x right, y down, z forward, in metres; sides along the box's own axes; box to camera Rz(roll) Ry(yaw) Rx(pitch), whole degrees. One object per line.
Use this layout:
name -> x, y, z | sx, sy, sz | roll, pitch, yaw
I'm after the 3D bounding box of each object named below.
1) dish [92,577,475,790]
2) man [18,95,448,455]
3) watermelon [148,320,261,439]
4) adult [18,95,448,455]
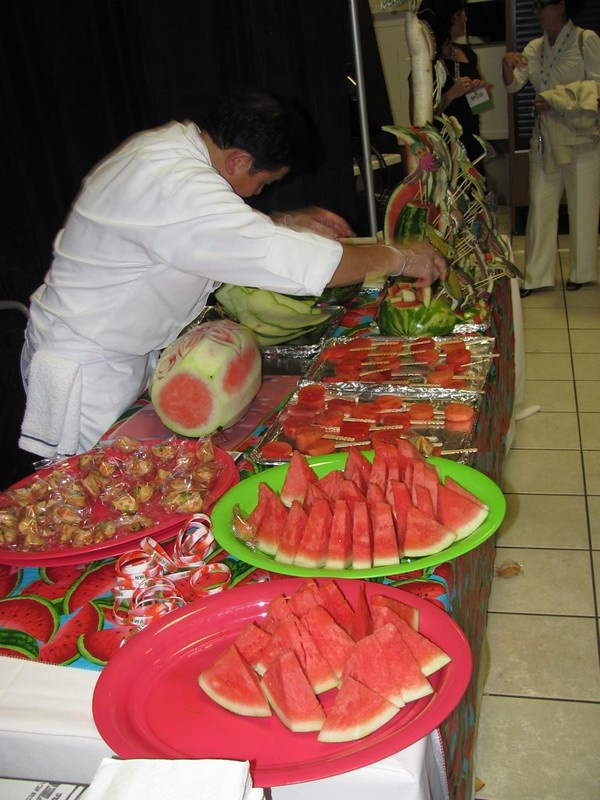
dish -> 0.052, 0.248, 0.575 | 0.206, 0.023, 0.204 | -5, 18, 8
man -> -0.293, -0.186, 1.631 | 0.905, 1.155, 0.564 | -10, 48, -31
watermelon -> -0.146, -0.053, 1.251 | 0.186, 0.186, 0.241 | 0, 30, 19
adult -> -0.291, -0.192, 1.648 | 0.919, 1.171, 0.558 | -7, 47, -30
